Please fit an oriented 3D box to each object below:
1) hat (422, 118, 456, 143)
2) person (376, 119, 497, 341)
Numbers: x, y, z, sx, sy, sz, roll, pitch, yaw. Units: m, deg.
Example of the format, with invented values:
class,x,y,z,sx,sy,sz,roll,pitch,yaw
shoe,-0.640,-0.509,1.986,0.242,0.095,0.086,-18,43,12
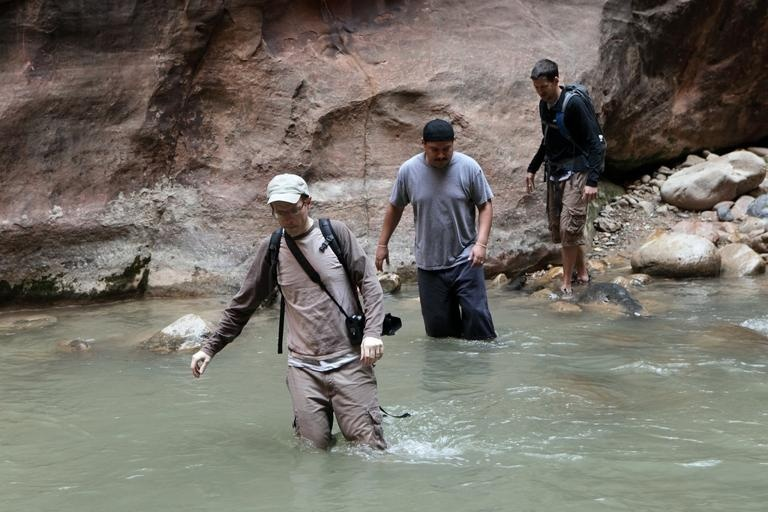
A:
class,x,y,z,sx,sy,sz,roll,pitch,yaw
hat,0.502,-1.187,6.493,0.268,0.163,0.246,0,10,-11
person,0.541,-0.222,6.843,0.984,2.187,0.737,-3,3,28
